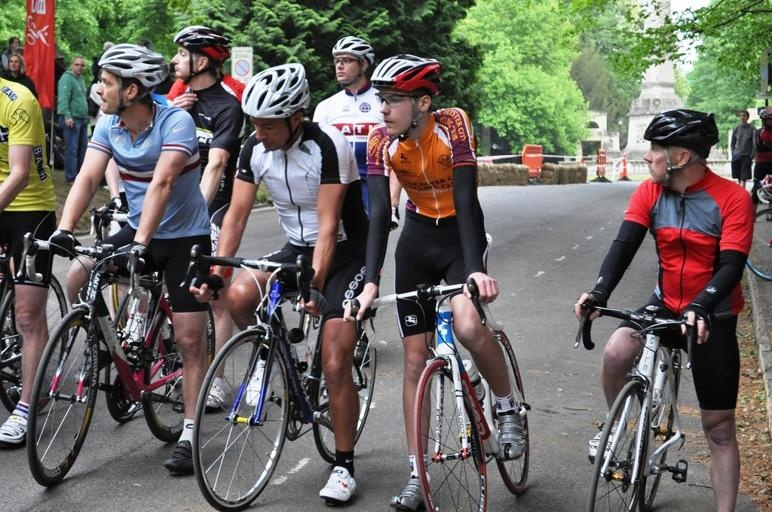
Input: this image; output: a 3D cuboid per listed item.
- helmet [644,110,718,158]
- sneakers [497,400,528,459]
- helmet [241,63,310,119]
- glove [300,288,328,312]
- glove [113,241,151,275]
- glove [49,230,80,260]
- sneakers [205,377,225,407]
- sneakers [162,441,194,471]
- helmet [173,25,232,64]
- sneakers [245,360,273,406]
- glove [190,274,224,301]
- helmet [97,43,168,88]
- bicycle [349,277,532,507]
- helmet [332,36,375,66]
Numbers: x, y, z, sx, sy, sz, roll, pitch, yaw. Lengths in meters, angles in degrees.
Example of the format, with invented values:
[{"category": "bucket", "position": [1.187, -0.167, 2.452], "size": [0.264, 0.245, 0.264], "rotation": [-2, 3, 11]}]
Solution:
[{"category": "helmet", "position": [1.959, -0.833, 5.468], "size": [0.427, 0.280, 0.320], "rotation": [3, 8, 8]}, {"category": "sneakers", "position": [0.882, 1.233, 5.753], "size": [0.209, 0.391, 0.153], "rotation": [0, -15, -5]}, {"category": "helmet", "position": [-0.746, -1.187, 5.689], "size": [0.331, 0.233, 0.492], "rotation": [10, 50, 27]}, {"category": "glove", "position": [-0.499, 0.301, 5.518], "size": [0.066, 0.157, 0.152], "rotation": [-26, 11, -26]}, {"category": "glove", "position": [-1.861, -0.030, 5.893], "size": [0.258, 0.264, 0.112], "rotation": [-8, 41, -6]}, {"category": "glove", "position": [-2.317, -0.105, 5.900], "size": [0.174, 0.095, 0.241], "rotation": [-31, -38, 21]}, {"category": "sneakers", "position": [-1.159, 0.937, 5.521], "size": [0.086, 0.246, 0.155], "rotation": [3, 6, 31]}, {"category": "sneakers", "position": [-1.533, 1.508, 6.016], "size": [0.137, 0.172, 0.363], "rotation": [0, -12, 8]}, {"category": "helmet", "position": [-1.681, -1.924, 7.436], "size": [0.426, 0.254, 0.322], "rotation": [2, 22, -29]}, {"category": "sneakers", "position": [-0.879, 0.871, 5.669], "size": [0.119, 0.365, 0.152], "rotation": [10, -4, -6]}, {"category": "glove", "position": [-1.253, 0.226, 5.625], "size": [0.221, 0.201, 0.188], "rotation": [-2, 5, -16]}, {"category": "helmet", "position": [-1.867, -1.405, 5.940], "size": [0.428, 0.243, 0.293], "rotation": [-3, 22, -15]}, {"category": "bicycle", "position": [0.466, 0.946, 5.556], "size": [0.714, 1.700, 1.236], "rotation": [4, 7, 43]}, {"category": "helmet", "position": [-0.293, -2.223, 8.598], "size": [0.265, 0.228, 0.383], "rotation": [-6, -17, 35]}]
